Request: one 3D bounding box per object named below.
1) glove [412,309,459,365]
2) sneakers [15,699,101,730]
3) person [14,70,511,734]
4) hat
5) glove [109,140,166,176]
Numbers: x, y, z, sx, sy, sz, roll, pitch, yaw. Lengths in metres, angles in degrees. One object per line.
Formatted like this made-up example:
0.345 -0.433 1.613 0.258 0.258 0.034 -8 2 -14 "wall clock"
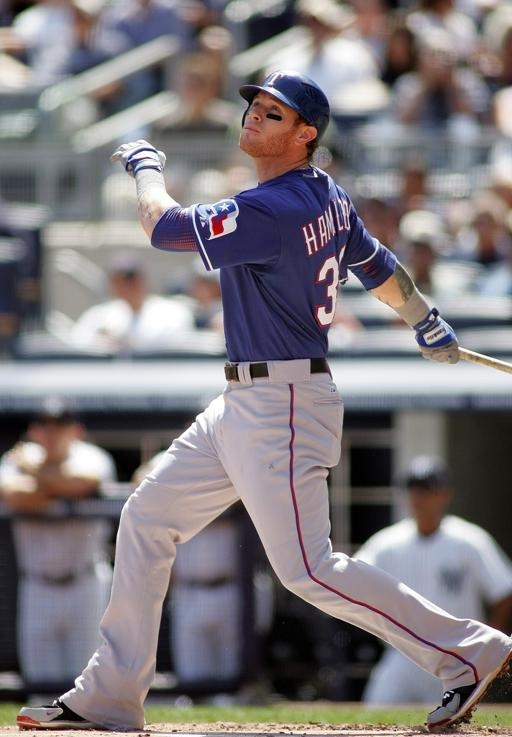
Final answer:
0.678 -0.121 5.899 0.166 0.205 0.090 -21 15 4 "glove"
-0.687 1.196 5.352 0.321 0.116 0.102 8 -24 1 "sneakers"
0.018 0.284 5.295 1.500 1.905 0.719 -6 19 4 "person"
0.135 -0.923 5.383 0.289 0.131 0.211 29 -4 -21 "hat"
-0.393 -0.736 5.441 0.147 0.074 0.162 6 5 -28 "glove"
